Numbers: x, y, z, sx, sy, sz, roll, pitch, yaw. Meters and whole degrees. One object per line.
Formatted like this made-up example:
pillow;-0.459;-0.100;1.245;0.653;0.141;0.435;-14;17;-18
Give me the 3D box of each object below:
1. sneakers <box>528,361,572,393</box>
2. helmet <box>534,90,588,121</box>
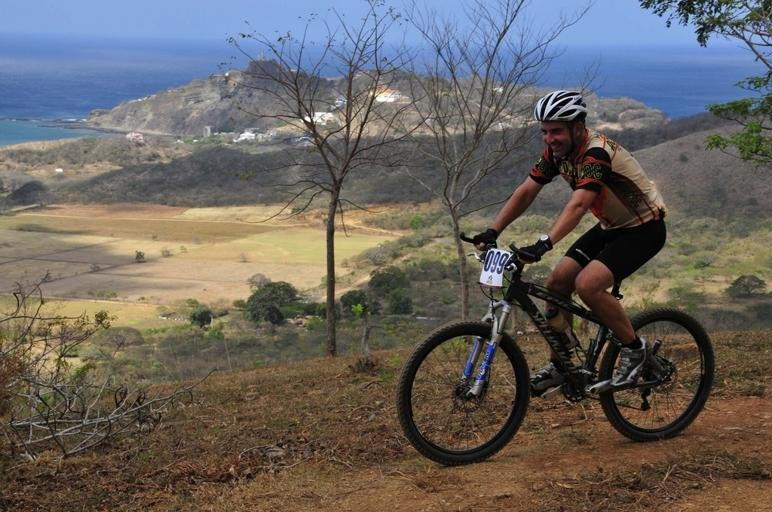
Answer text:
sneakers;1.899;1.430;8.887;0.604;0.260;0.188;-5;6;-17
helmet;1.967;-1.693;8.649;0.517;0.213;0.365;-5;11;-33
